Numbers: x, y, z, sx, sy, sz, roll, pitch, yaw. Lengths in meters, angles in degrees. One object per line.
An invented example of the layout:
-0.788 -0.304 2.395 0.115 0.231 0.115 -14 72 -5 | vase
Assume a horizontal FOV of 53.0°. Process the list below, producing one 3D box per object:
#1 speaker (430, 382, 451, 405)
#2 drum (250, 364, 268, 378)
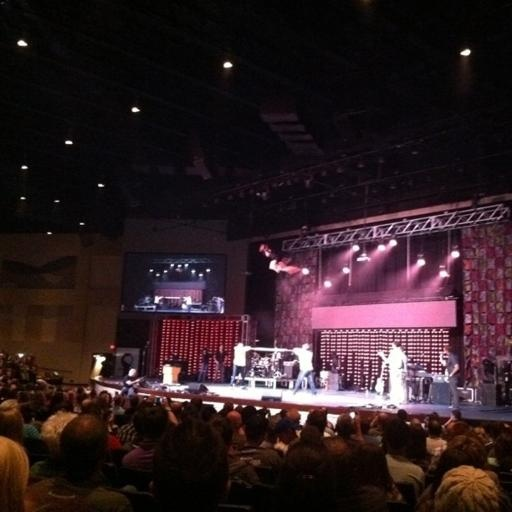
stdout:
4.656 3.461 13.032 0.500 0.609 0.662 -3 -10 29 | speaker
0.075 3.751 16.743 0.504 0.303 0.476 0 -2 0 | drum
